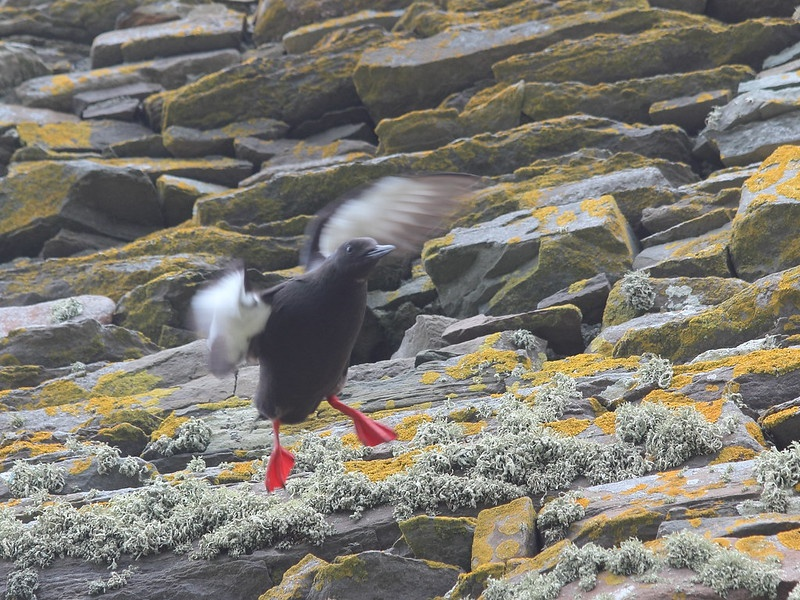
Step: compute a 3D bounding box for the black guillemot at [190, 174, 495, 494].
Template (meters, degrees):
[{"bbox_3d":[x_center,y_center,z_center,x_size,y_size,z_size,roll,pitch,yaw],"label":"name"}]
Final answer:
[{"bbox_3d":[-2.927,1.327,91.298,10.170,11.908,1.404,-5,4,0],"label":"black guillemot"}]
